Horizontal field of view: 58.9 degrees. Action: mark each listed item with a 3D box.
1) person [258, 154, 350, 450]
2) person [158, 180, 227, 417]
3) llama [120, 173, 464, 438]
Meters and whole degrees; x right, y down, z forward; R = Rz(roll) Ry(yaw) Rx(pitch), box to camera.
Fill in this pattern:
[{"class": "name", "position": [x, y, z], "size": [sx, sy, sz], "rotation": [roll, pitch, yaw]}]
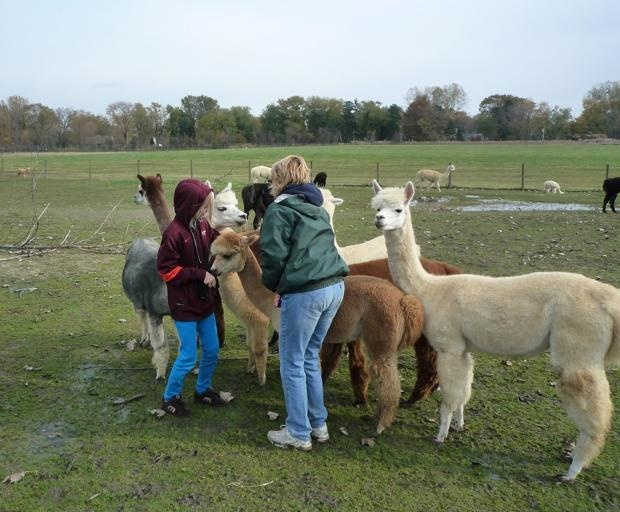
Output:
[{"class": "person", "position": [-0.046, 0.417, 4.677], "size": [0.578, 2.480, 0.577], "rotation": [4, 13, 22]}, {"class": "person", "position": [-1.148, 0.390, 5.162], "size": [0.640, 2.176, 0.455], "rotation": [-7, 13, -26]}, {"class": "llama", "position": [0.129, 0.390, 6.007], "size": [1.855, 4.468, 2.087], "rotation": [9, 12, 42]}]
